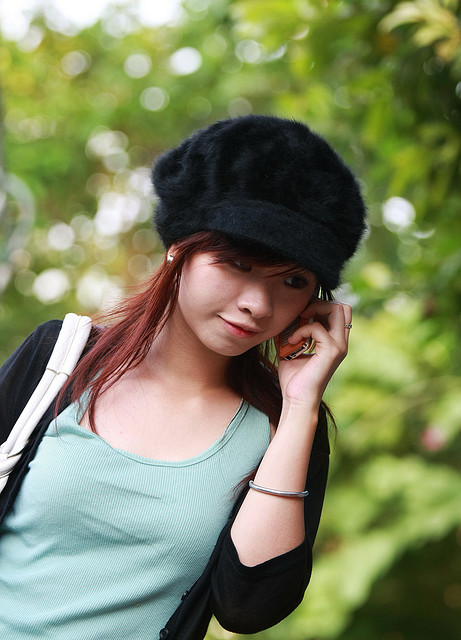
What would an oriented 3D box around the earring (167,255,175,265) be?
[{"bbox_3d":[-0.176,-0.174,1.925,0.021,0.007,0.026,32,80,33],"label":"earring"}]
